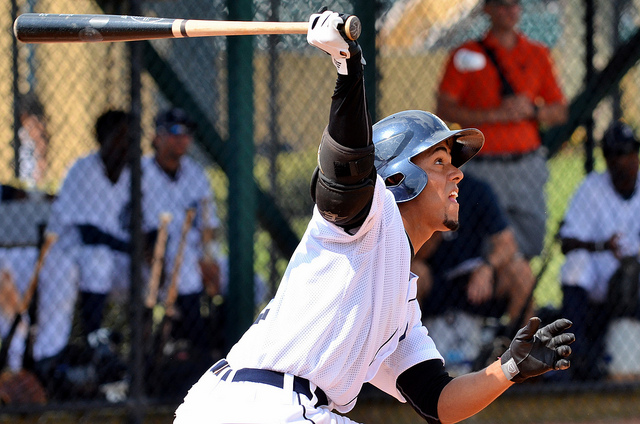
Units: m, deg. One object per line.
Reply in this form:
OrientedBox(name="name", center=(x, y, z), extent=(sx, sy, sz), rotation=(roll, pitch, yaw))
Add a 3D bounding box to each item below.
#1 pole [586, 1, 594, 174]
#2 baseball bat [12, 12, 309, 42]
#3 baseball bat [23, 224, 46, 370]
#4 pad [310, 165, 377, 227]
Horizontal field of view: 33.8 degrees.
OrientedBox(name="pole", center=(1.681, -0.783, 6.549), extent=(0.045, 1.024, 0.235), rotation=(1, -2, 14))
OrientedBox(name="baseball bat", center=(-0.922, -0.993, 5.605), extent=(1.588, 0.216, 0.174), rotation=(4, 15, 16))
OrientedBox(name="baseball bat", center=(-1.710, 0.495, 6.282), extent=(0.104, 0.864, 0.034), rotation=(1, -1, 2))
OrientedBox(name="pad", center=(0.112, -0.143, 5.126), extent=(0.243, 0.369, 0.218), rotation=(-7, 12, -24))
